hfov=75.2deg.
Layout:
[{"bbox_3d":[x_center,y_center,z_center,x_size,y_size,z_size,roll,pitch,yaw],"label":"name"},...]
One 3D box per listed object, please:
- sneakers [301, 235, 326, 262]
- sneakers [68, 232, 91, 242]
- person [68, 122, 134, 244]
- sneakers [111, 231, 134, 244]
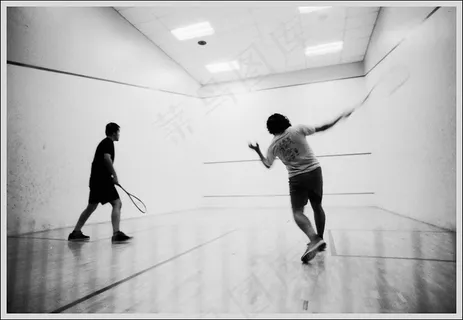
[{"bbox_3d":[0.759,0.820,2.771,0.245,0.089,0.103,-42,24,-15],"label":"sneakers"},{"bbox_3d":[-1.856,0.937,3.671,0.252,0.115,0.108,3,-6,-16],"label":"sneakers"},{"bbox_3d":[-1.642,0.256,3.706,0.667,1.514,0.463,-3,-2,-29],"label":"person"},{"bbox_3d":[-1.318,0.934,3.656,0.105,0.122,0.291,1,-4,44],"label":"sneakers"}]
